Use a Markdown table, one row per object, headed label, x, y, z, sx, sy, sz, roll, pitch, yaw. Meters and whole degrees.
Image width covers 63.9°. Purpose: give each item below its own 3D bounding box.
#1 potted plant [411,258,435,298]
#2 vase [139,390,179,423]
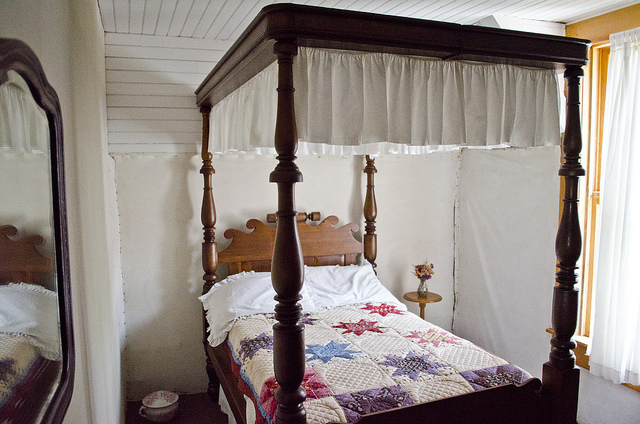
| label | x | y | z | sx | sy | sz | roll | pitch | yaw |
| --- | --- | --- | --- | --- | --- | --- | --- | --- | --- |
| potted plant | 1.095 | 0.704 | 5.501 | 0.234 | 0.385 | 0.254 | -4 | -9 | 23 |
| vase | -1.431 | 1.752 | 4.585 | 0.315 | 0.179 | 0.359 | -4 | 6 | -14 |
